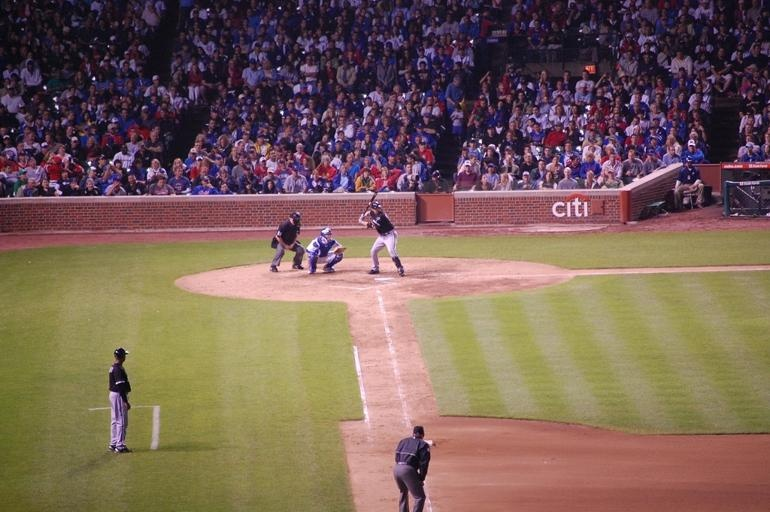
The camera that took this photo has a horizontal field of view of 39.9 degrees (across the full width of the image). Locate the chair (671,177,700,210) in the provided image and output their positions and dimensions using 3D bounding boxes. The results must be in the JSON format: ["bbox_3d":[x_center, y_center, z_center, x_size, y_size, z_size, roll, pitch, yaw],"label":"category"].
[{"bbox_3d":[13.127,-2.773,46.500,1.556,1.648,1.111,1,10,13],"label":"chair"}]

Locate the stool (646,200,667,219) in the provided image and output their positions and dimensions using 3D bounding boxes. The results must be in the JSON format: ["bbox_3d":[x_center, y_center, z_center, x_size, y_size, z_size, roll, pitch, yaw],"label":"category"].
[{"bbox_3d":[11.790,-2.079,46.220,1.107,0.693,0.396,-2,-1,-34],"label":"stool"}]

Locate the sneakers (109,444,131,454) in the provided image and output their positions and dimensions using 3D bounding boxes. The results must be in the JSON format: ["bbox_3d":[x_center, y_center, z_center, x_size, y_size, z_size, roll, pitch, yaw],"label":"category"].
[{"bbox_3d":[-6.571,4.781,26.485,0.559,0.213,0.185,2,8,-2],"label":"sneakers"}]

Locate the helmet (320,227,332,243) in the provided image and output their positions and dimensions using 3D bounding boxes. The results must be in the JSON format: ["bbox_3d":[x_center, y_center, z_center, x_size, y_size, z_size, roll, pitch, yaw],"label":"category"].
[{"bbox_3d":[-2.044,-0.789,37.456,0.558,0.461,0.433,10,15,40],"label":"helmet"}]

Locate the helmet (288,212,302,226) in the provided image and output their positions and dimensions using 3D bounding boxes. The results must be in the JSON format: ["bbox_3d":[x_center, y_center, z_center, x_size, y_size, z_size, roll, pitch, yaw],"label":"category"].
[{"bbox_3d":[-3.105,-1.324,37.333,0.605,0.488,0.474,2,10,1],"label":"helmet"}]

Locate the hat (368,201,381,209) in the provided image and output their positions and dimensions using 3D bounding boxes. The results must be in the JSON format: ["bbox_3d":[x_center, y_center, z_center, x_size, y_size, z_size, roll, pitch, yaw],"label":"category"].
[{"bbox_3d":[-0.353,-1.720,36.445,0.358,0.236,0.457,3,12,-1],"label":"hat"}]
